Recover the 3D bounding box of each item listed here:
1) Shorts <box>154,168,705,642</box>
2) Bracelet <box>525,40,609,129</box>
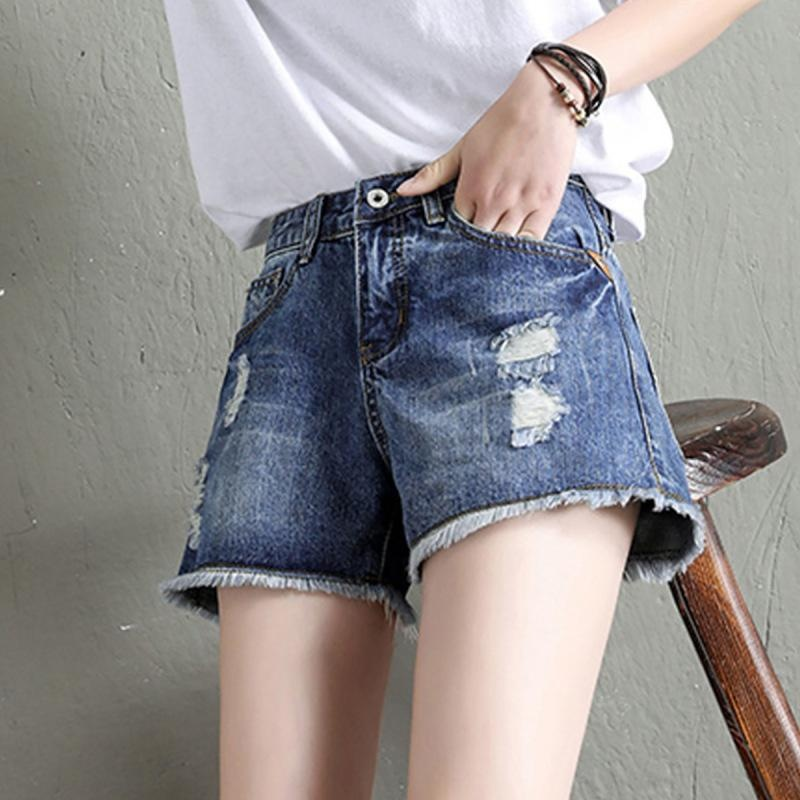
[{"bbox_3d":[0.017,0.011,1.130,0.565,0.301,0.431,2,73,0],"label":"Shorts"},{"bbox_3d":[0.180,-0.300,1.108,0.072,0.078,0.031,38,70,-4],"label":"Bracelet"}]
